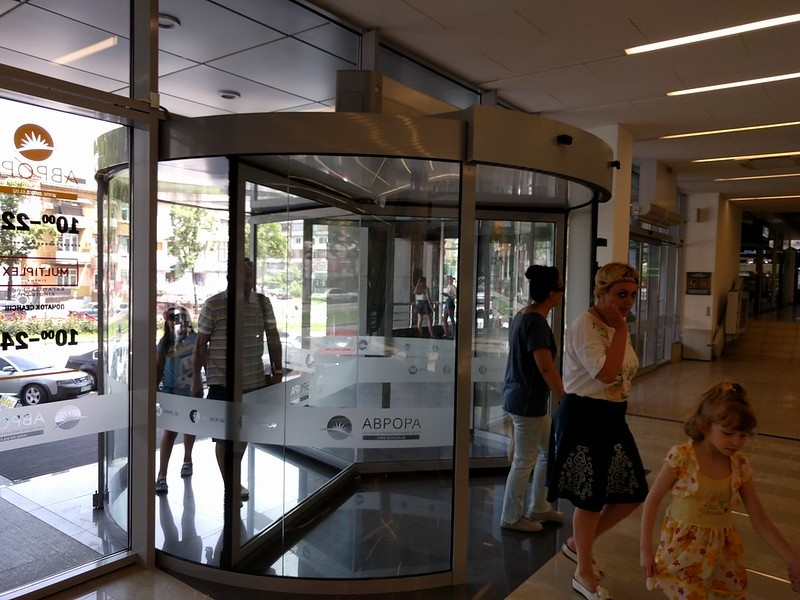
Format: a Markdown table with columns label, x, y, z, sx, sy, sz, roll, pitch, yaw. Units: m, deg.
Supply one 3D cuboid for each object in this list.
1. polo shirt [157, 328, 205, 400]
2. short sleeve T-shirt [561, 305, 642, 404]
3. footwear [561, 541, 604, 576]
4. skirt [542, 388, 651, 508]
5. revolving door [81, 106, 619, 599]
| label | x | y | z | sx | sy | sz | roll | pitch | yaw |
| --- | --- | --- | --- | --- | --- | --- | --- | --- | --- |
| polo shirt | -1.484 | 0.427 | 4.171 | 0.293 | 0.412 | 0.122 | 7 | 5 | 12 |
| short sleeve T-shirt | 1.299 | 0.313 | 4.077 | 0.469 | 0.664 | 0.669 | 0 | -7 | 37 |
| footwear | 1.226 | 1.788 | 4.221 | 0.107 | 0.083 | 0.293 | 12 | 10 | -44 |
| skirt | 1.171 | 0.906 | 4.095 | 0.791 | 0.894 | 0.636 | 1 | -3 | -6 |
| revolving door | -0.168 | 0.415 | 5.317 | 3.140 | 3.118 | 3.213 | 2 | 3 | 23 |
